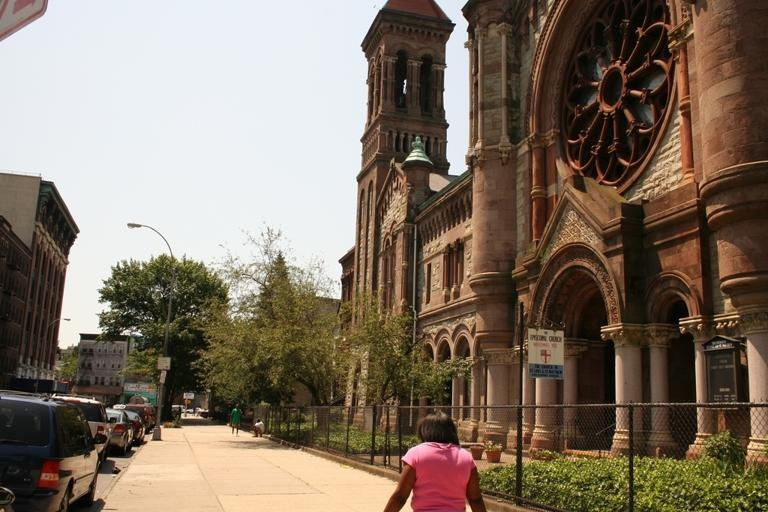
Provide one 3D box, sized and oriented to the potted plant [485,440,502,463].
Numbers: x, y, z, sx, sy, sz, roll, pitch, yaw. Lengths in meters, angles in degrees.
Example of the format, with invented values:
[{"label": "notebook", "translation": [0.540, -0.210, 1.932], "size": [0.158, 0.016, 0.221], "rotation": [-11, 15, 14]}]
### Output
[{"label": "potted plant", "translation": [4.069, 7.208, 23.895], "size": [0.776, 0.774, 0.830], "rotation": [0, -25, 4]}]
